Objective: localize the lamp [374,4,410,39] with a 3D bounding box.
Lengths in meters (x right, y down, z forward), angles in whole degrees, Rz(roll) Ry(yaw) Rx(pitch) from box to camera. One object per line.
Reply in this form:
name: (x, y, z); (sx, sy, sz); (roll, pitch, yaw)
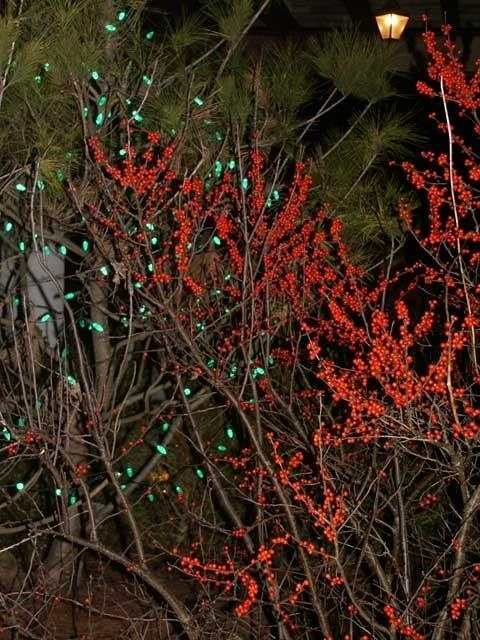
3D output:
lamp: (1.365, -2.646, 6.925); (0.279, 0.318, 0.179); (6, 15, 6)
